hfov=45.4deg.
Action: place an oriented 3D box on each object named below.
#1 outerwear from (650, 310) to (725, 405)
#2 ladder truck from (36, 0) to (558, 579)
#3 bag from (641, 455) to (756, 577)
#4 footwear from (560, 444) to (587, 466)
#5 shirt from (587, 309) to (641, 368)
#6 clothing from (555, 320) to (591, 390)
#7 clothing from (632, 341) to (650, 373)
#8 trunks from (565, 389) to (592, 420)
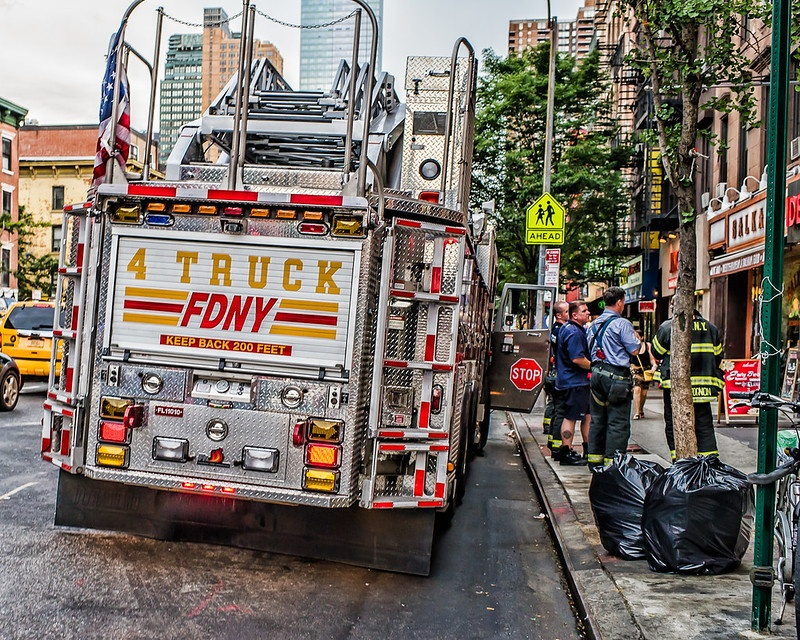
[{"bbox_3d":[3.191,0.396,10.538,0.754,0.980,0.507,-1,1,-3],"label":"outerwear"},{"bbox_3d":[-0.882,-0.325,10.239,3.786,3.431,5.697,3,1,7],"label":"ladder truck"},{"bbox_3d":[2.454,1.637,7.928,0.916,1.010,0.984,1,-4,36],"label":"bag"},{"bbox_3d":[2.310,1.756,12.502,0.444,0.321,0.172,-3,2,-24],"label":"footwear"},{"bbox_3d":[2.378,0.197,10.686,0.441,0.679,0.721,-2,3,-36],"label":"shirt"},{"bbox_3d":[2.234,0.460,12.248,0.498,0.965,0.885,0,0,-3],"label":"clothing"},{"bbox_3d":[3.847,0.598,15.231,0.293,0.542,0.152,-6,-19,23],"label":"clothing"},{"bbox_3d":[2.311,1.060,12.292,0.320,0.549,0.562,5,-5,7],"label":"trunks"}]
